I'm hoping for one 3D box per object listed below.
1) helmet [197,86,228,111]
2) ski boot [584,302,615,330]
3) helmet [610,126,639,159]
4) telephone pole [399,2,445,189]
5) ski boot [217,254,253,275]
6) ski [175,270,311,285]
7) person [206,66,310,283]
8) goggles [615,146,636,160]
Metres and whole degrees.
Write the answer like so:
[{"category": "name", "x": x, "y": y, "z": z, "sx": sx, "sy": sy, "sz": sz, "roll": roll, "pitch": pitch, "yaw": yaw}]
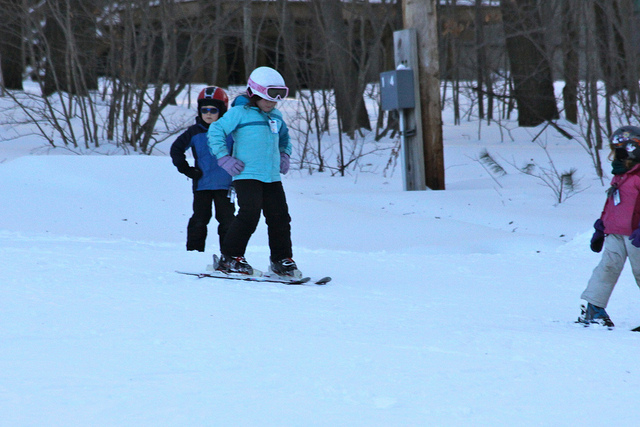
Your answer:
[{"category": "helmet", "x": -1.212, "y": -1.349, "z": 9.187, "sx": 0.210, "sy": 0.226, "sz": 0.294, "roll": 3, "pitch": 20, "yaw": 13}, {"category": "ski boot", "x": 2.599, "y": 0.947, "z": 7.450, "sx": 0.106, "sy": 0.227, "sz": 0.312, "roll": 10, "pitch": -10, "yaw": -39}, {"category": "helmet", "x": 2.883, "y": -0.675, "z": 7.499, "sx": 0.304, "sy": 0.272, "sz": 0.228, "roll": -3, "pitch": 5, "yaw": 11}, {"category": "telephone pole", "x": 1.535, "y": -1.840, "z": 12.469, "sx": 0.753, "sy": 2.668, "sz": 0.533, "roll": 3, "pitch": -2, "yaw": -25}, {"category": "ski boot", "x": -0.870, "y": 0.531, "z": 8.229, "sx": 0.430, "sy": 0.203, "sz": 0.157, "roll": 4, "pitch": -2, "yaw": 9}, {"category": "ski", "x": -0.778, "y": 0.649, "z": 8.087, "sx": 1.360, "sy": 0.115, "sz": 0.200, "roll": 0, "pitch": 8, "yaw": 4}, {"category": "person", "x": -0.665, "y": -0.417, "z": 8.200, "sx": 0.891, "sy": 2.128, "sz": 0.357, "roll": -2, "pitch": 7, "yaw": -8}, {"category": "goggles", "x": 2.877, "y": -0.576, "z": 7.534, "sx": 0.105, "sy": 0.082, "sz": 0.132, "roll": 19, "pitch": 5, "yaw": -5}]
